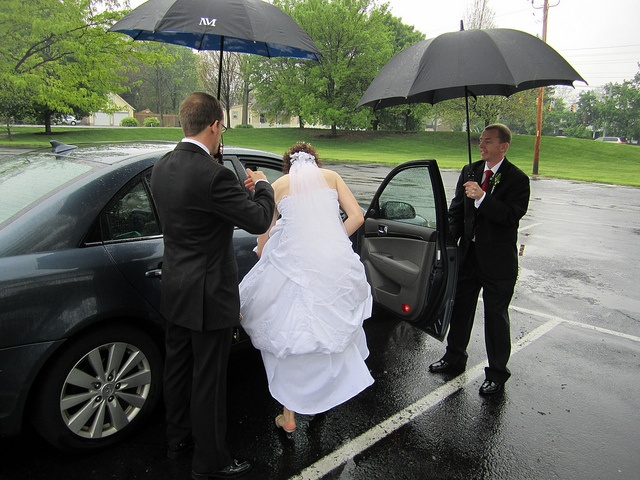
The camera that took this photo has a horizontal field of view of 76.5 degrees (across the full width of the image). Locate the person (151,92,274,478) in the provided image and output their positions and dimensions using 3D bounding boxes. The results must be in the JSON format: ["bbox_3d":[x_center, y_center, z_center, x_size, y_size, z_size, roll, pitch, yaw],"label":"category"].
[{"bbox_3d":[-0.708,0.478,2.752,0.759,2.248,0.554,-2,15,-13],"label":"person"}]

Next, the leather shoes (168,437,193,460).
[{"bbox_3d":[-1.007,1.523,2.997,0.087,0.098,0.218,4,9,22],"label":"leather shoes"}]
